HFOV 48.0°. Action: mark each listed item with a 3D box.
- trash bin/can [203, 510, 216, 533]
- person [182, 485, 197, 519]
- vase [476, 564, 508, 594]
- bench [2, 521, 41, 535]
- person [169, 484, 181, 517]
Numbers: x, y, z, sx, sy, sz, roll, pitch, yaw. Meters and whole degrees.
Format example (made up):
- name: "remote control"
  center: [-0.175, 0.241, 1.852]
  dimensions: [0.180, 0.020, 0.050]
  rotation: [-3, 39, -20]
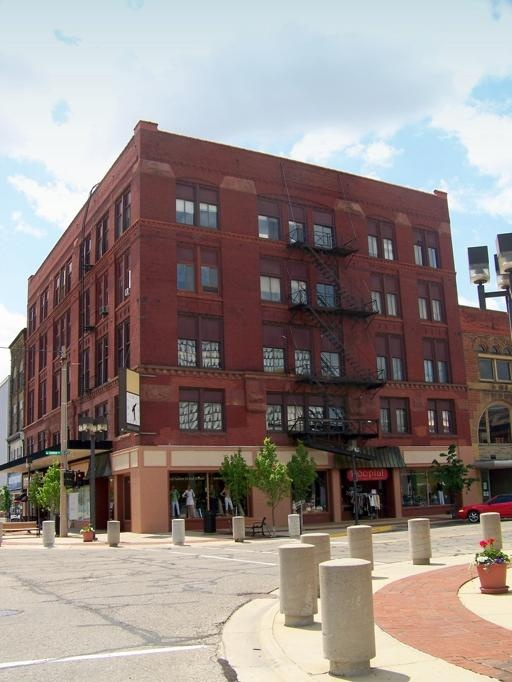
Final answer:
- name: "trash bin/can"
  center: [-2.510, 9.568, 30.521]
  dimensions: [0.606, 1.109, 0.668]
  rotation: [-1, -14, -10]
- name: "person"
  center: [-3.851, 9.107, 32.639]
  dimensions: [0.681, 1.779, 0.688]
  rotation: [-3, -13, -4]
- name: "vase"
  center: [3.710, 3.716, 9.067]
  dimensions: [0.508, 0.429, 0.515]
  rotation: [-12, -19, 41]
- name: "bench"
  center: [-16.454, 12.894, 39.946]
  dimensions: [2.066, 0.804, 7.687]
  rotation: [2, -15, -23]
- name: "person"
  center: [-4.534, 8.979, 32.192]
  dimensions: [0.563, 1.627, 0.596]
  rotation: [3, -15, -27]
